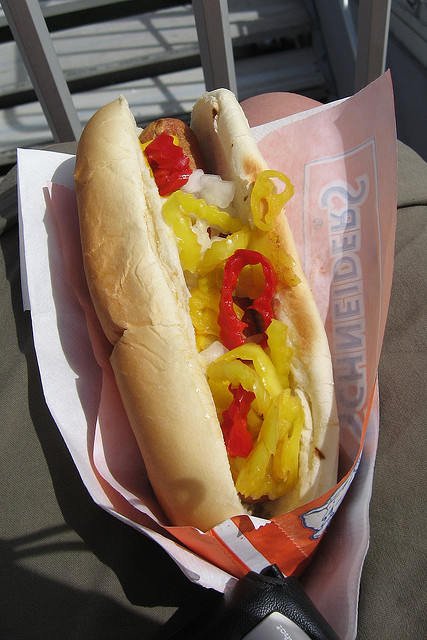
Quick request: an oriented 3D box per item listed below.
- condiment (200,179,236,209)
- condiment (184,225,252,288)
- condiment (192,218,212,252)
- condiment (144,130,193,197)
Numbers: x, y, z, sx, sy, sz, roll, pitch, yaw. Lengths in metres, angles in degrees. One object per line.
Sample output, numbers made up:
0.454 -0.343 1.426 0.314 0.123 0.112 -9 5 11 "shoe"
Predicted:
0.016 -0.354 1.581 0.089 0.035 0.085 -11 83 -16 "condiment"
0.032 -0.179 1.553 0.121 0.144 0.182 -19 28 -38 "condiment"
-0.030 -0.221 1.518 0.054 0.024 0.088 -33 49 35 "condiment"
-0.127 -0.437 1.655 0.140 0.059 0.177 -6 76 -2 "condiment"
